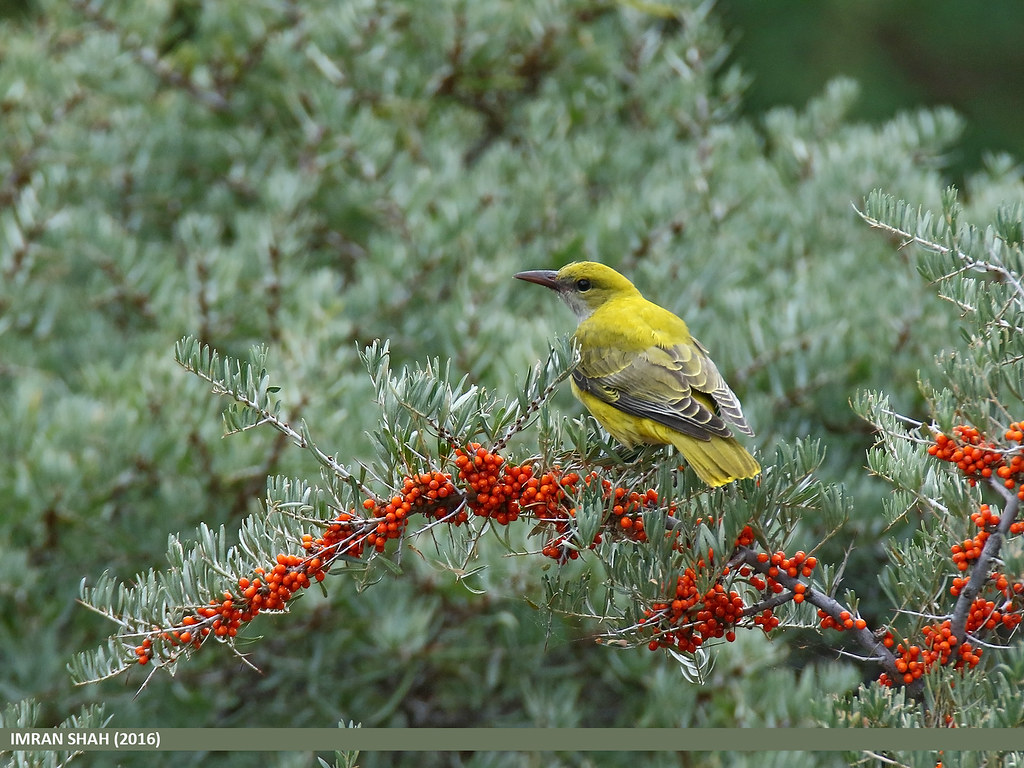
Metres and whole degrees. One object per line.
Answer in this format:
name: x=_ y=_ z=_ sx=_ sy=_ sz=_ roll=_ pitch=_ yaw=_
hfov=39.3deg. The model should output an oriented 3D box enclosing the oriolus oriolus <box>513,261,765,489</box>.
oriolus oriolus: x=0.525 y=-0.052 z=5.489 sx=0.506 sy=0.649 sz=1.211 roll=-10 pitch=29 yaw=-33
